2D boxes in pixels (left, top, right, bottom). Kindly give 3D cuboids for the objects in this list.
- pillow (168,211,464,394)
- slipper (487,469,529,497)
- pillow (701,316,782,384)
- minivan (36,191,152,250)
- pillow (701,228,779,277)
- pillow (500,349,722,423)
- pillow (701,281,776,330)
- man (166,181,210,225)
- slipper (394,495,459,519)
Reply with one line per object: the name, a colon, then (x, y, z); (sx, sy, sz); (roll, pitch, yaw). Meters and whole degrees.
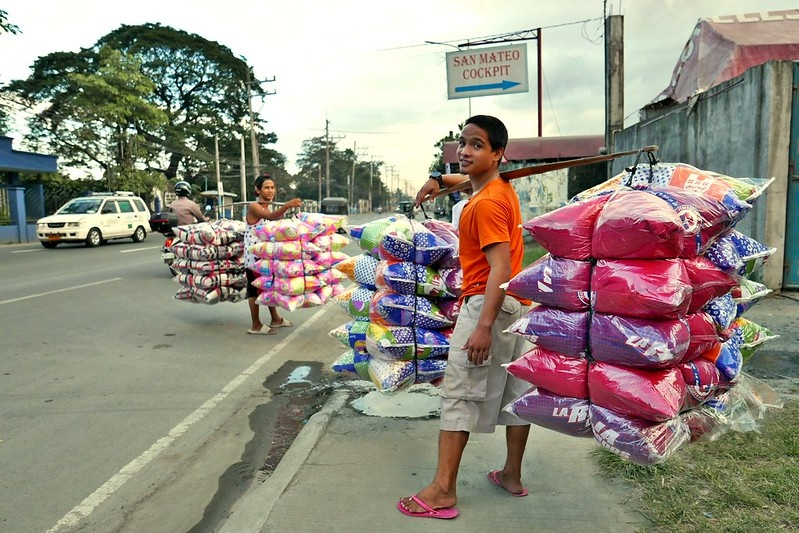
pillow: (-0.712, 0.233, 6.803); (2.570, 0.686, 1.588); (6, 16, 23)
slipper: (0.817, 1.631, 5.425); (0.137, 0.065, 0.291); (-7, 25, -35)
pillow: (2.504, 0.535, 5.569); (0.592, 0.146, 0.466); (-32, 49, -27)
minivan: (-9.680, -1.496, 22.662); (1.903, 1.344, 3.289); (-1, 1, 17)
pillow: (2.492, -0.097, 5.348); (0.445, 0.141, 0.442); (39, 40, 10)
pillow: (1.361, 0.813, 5.015); (1.136, 0.402, 0.255); (4, 9, 19)
pillow: (2.522, 0.272, 5.552); (0.837, 0.177, 0.315); (-24, 18, -38)
man: (-3.511, -0.984, 11.965); (0.619, 0.881, 0.543); (-4, 18, -30)
slipper: (0.191, 1.709, 5.194); (0.376, 0.078, 0.170); (4, 8, 13)
